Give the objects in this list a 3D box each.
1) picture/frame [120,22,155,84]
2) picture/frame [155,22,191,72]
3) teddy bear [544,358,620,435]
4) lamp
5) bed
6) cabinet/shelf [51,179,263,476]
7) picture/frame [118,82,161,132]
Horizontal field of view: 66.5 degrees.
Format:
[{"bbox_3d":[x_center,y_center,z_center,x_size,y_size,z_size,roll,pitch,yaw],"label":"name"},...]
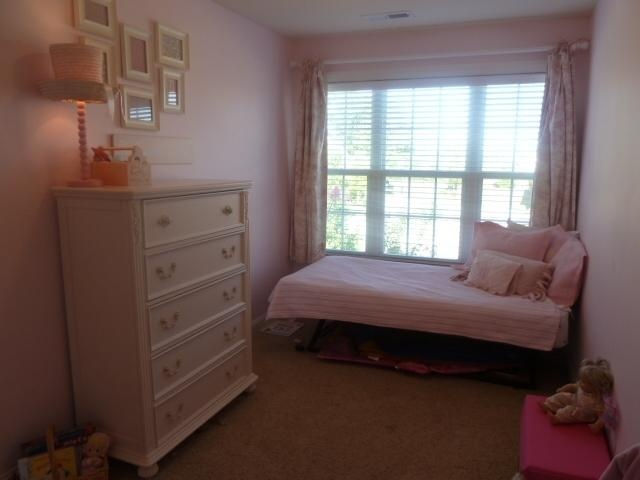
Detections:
[{"bbox_3d":[-1.179,-1.197,3.150,0.048,0.323,0.254,6,12,21],"label":"picture/frame"},{"bbox_3d":[-1.037,-1.349,3.401,0.038,0.342,0.391,6,9,27],"label":"picture/frame"},{"bbox_3d":[1.429,0.839,2.708,0.341,0.382,0.300,5,23,25],"label":"teddy bear"},{"bbox_3d":[-1.359,-0.716,2.705,0.343,0.766,0.309,-5,13,-30],"label":"lamp"},{"bbox_3d":[0.953,0.215,3.924,1.791,0.939,1.385,3,9,17],"label":"bed"},{"bbox_3d":[-0.892,0.433,2.931,1.053,1.515,0.566,-8,15,-39],"label":"cabinet/shelf"},{"bbox_3d":[-1.190,-0.867,3.179,0.036,0.315,0.360,3,6,27],"label":"picture/frame"}]
